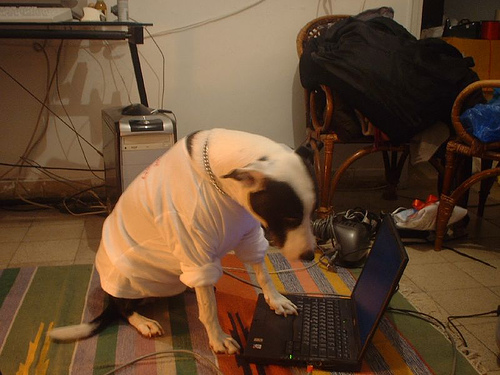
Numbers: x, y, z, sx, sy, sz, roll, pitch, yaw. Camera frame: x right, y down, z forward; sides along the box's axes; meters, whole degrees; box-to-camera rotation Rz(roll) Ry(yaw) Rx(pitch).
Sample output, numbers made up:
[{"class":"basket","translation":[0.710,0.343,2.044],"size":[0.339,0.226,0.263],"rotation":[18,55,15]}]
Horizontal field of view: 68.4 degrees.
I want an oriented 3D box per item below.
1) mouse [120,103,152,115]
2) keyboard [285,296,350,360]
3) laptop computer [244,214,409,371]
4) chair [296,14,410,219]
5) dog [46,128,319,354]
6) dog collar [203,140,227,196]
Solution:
[{"class":"mouse","translation":[-0.722,-0.489,2.326],"size":[0.203,0.054,0.151],"rotation":[0,16,-5]},{"class":"keyboard","translation":[0.264,0.536,1.418],"size":[0.306,0.054,0.388],"rotation":[3,16,7]},{"class":"laptop computer","translation":[0.249,0.445,1.493],"size":[0.511,0.517,0.567],"rotation":[6,27,4]},{"class":"chair","translation":[0.779,-0.498,2.530],"size":[0.732,1.245,0.807],"rotation":[-3,14,0]},{"class":"dog","translation":[-0.234,0.171,1.397],"size":[0.878,0.782,0.593],"rotation":[8,19,19]},{"class":"dog collar","translation":[-0.121,-0.059,1.174],"size":[0.043,0.157,0.104],"rotation":[-8,17,-31]}]
